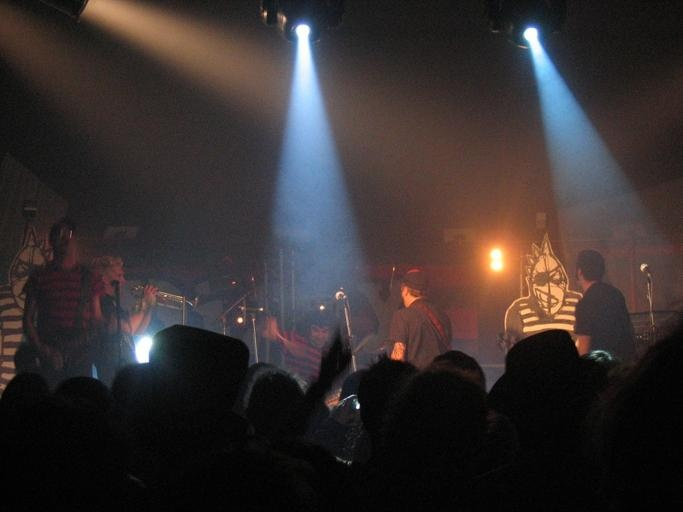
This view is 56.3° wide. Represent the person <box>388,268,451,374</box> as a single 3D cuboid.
[{"bbox_3d":[0.776,0.636,6.369,0.471,1.233,0.496,0,3,-4],"label":"person"}]

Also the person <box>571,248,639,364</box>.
[{"bbox_3d":[2.307,0.456,5.712,0.597,1.544,0.589,-1,4,12],"label":"person"}]

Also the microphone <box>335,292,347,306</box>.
[{"bbox_3d":[-0.001,0.563,8.469,0.145,0.222,0.367,-2,8,-2],"label":"microphone"}]
